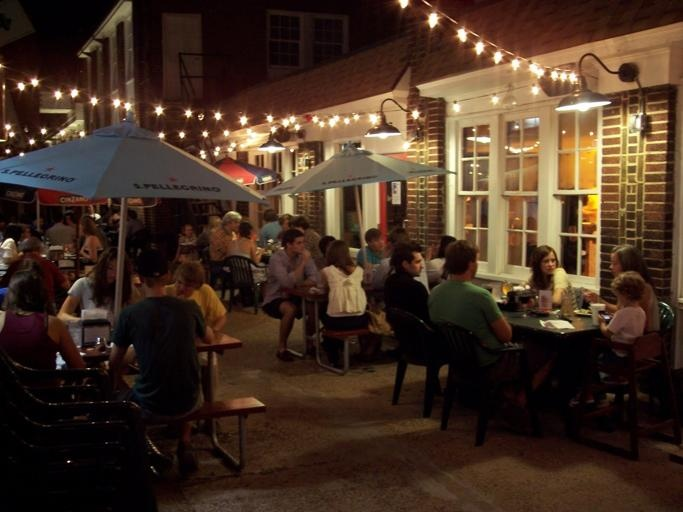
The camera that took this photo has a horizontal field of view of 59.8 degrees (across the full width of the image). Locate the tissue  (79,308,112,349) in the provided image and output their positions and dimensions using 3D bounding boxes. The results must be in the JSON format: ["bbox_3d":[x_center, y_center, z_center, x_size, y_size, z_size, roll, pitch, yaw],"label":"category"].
[{"bbox_3d":[-2.087,0.615,5.034,0.315,0.381,0.288,2,-4,-35],"label":"tissue "}]

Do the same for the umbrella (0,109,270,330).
[{"bbox_3d":[-1.678,-0.273,5.004,1.832,1.250,1.758,1,3,-39],"label":"umbrella"}]

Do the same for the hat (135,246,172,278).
[{"bbox_3d":[-1.421,0.053,4.465,0.192,0.135,0.240,-5,20,-10],"label":"hat"}]

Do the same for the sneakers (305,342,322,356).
[{"bbox_3d":[-0.384,1.250,7.971,0.190,0.224,0.589,0,-9,-5],"label":"sneakers"}]

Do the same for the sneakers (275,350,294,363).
[{"bbox_3d":[-0.752,1.322,7.853,0.233,0.093,0.125,0,2,43],"label":"sneakers"}]

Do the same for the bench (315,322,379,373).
[{"bbox_3d":[0.009,1.121,7.527,0.799,0.467,0.551,2,-4,-32],"label":"bench"}]

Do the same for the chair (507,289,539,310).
[{"bbox_3d":[1.906,0.454,6.252,0.204,0.126,0.279,3,4,32],"label":"chair"}]

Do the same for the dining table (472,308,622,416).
[{"bbox_3d":[1.977,1.015,5.850,1.040,0.947,0.995,-2,6,-9],"label":"dining table"}]

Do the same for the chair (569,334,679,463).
[{"bbox_3d":[2.618,1.152,5.343,1.007,1.002,0.728,-7,9,-36],"label":"chair"}]

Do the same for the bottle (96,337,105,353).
[{"bbox_3d":[-1.995,0.741,4.933,0.103,0.108,0.099,0,-4,-6],"label":"bottle"}]

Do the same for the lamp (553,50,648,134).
[{"bbox_3d":[2.875,-1.785,6.519,0.924,0.785,0.447,-14,20,-2],"label":"lamp"}]

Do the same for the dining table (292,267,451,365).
[{"bbox_3d":[0.051,0.705,7.591,1.454,0.808,1.397,-3,4,-40],"label":"dining table"}]

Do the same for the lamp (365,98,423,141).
[{"bbox_3d":[0.842,-2.116,9.398,1.149,0.683,0.603,1,-1,-39],"label":"lamp"}]

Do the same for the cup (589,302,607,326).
[{"bbox_3d":[2.390,0.540,5.499,0.176,0.193,0.173,1,-3,0],"label":"cup"}]
